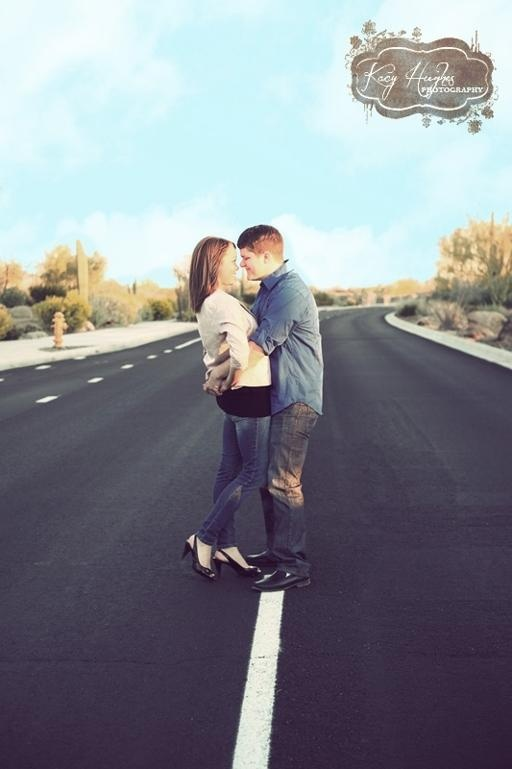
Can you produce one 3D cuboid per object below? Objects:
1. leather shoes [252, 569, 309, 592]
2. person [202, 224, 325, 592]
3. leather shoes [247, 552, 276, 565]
[{"bbox_3d":[0.143,1.107,3.454,0.312,0.162,0.133,1,-6,-7],"label":"leather shoes"},{"bbox_3d":[0.131,0.129,3.412,0.483,2.057,0.441,0,2,5],"label":"person"},{"bbox_3d":[0.038,1.106,3.849,0.189,0.096,0.076,6,-8,4],"label":"leather shoes"}]
